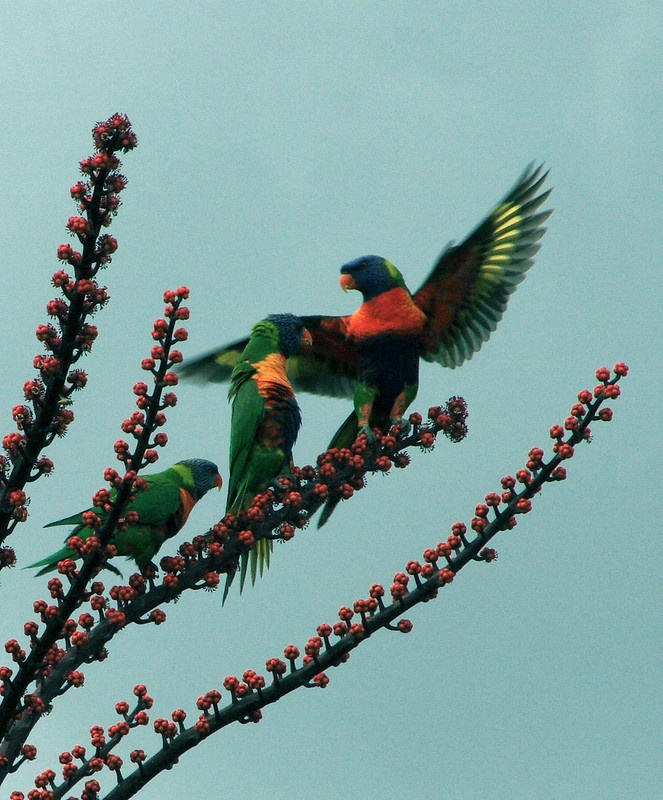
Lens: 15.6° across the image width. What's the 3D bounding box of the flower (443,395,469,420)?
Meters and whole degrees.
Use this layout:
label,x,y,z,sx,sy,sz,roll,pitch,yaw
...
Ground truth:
label,x,y,z,sx,sy,sz,roll,pitch,yaw
flower,0.855,0.061,16.479,0.117,0.076,0.169,-1,-92,0
